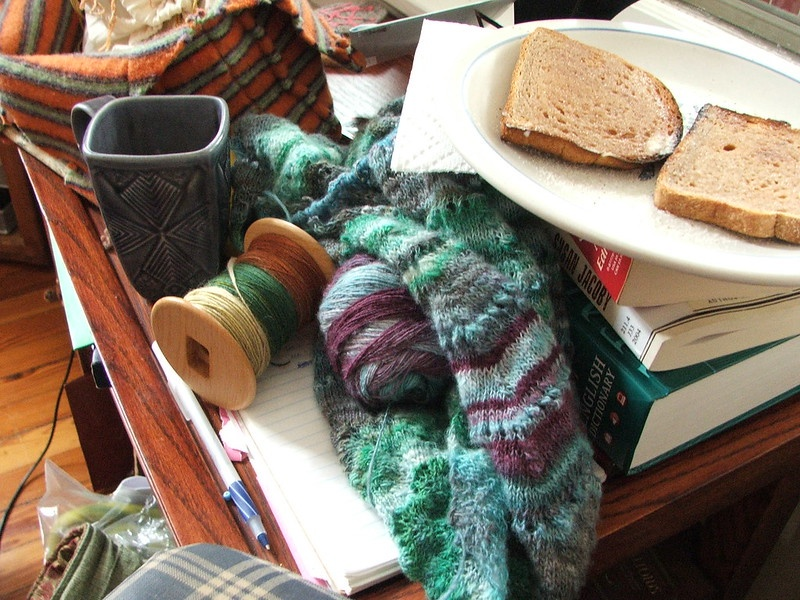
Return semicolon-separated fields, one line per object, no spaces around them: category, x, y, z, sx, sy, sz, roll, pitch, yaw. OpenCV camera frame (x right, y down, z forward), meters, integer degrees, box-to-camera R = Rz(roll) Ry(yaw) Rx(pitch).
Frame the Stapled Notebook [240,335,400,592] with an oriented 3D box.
Stapled Notebook;-0.086;0.142;0.546;0.104;0.025;0.185;-22;61;-6

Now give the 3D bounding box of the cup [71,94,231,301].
cup;-0.207;-0.099;0.671;0.189;0.199;0.142;14;44;-1
